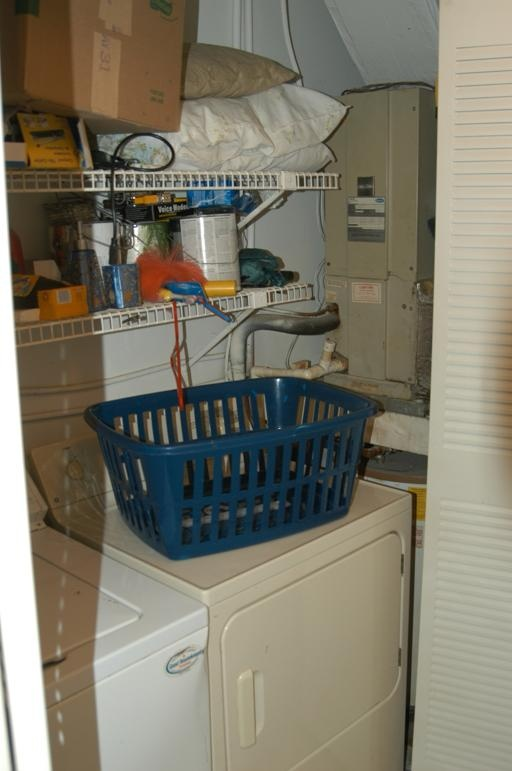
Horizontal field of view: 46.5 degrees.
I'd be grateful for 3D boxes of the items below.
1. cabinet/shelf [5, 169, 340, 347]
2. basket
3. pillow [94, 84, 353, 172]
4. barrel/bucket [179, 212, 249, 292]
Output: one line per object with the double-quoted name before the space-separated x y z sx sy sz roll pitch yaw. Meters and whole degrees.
"cabinet/shelf" -0.195 -0.327 1.539 0.268 0.483 1.026 13 20 41
"basket" -0.021 0.181 1.416 0.576 0.254 0.421 -7 12 -35
"pillow" -0.097 -0.633 1.460 0.401 0.142 0.344 -13 34 -35
"barrel/bucket" -0.092 -0.361 1.604 0.163 0.184 0.169 -1 14 0
